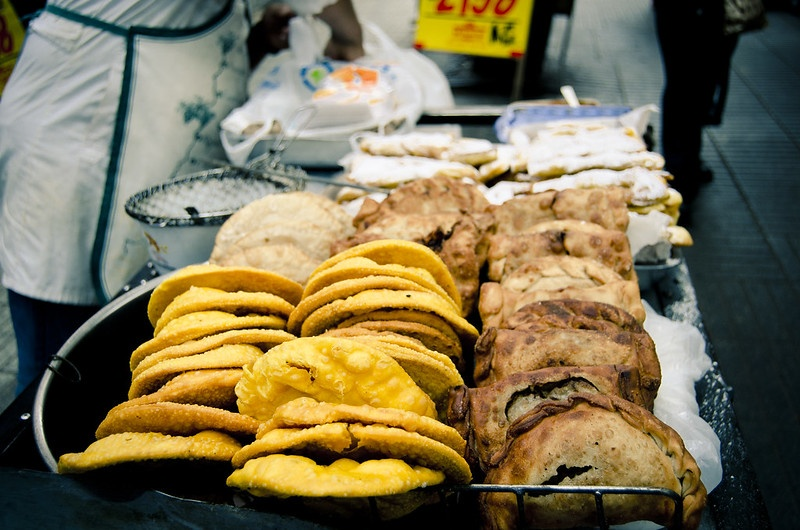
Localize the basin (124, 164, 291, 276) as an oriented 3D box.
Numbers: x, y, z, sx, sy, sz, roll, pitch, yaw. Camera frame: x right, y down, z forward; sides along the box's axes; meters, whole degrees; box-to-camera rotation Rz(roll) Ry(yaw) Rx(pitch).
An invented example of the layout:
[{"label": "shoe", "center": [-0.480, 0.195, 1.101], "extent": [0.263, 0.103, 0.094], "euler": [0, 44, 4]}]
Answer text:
[{"label": "basin", "center": [-0.859, -0.208, 3.242], "extent": [0.570, 0.217, 0.513], "euler": [4, 25, 33]}]
